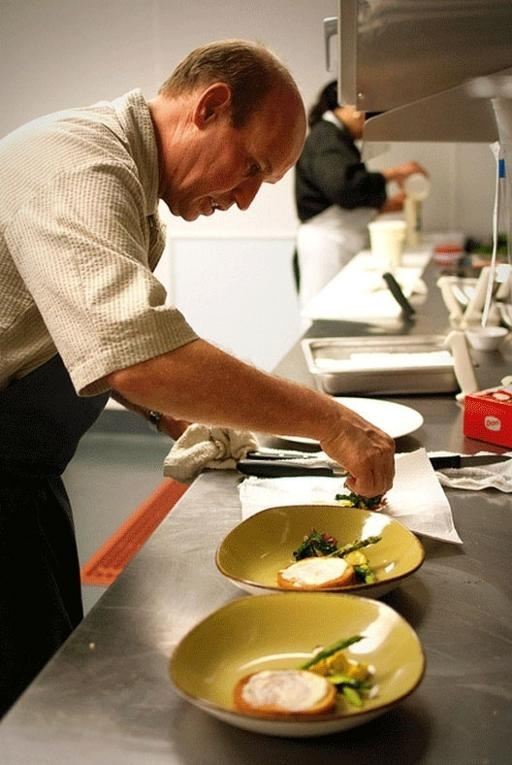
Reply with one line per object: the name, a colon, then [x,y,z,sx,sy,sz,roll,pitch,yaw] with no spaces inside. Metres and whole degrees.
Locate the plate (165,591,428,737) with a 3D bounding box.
plate: [0.036,0.224,0.552,0.193,0.052,0.169,1,14,14]

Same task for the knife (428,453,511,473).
knife: [0.341,0.119,1.098,0.134,0.023,0.061,-1,13,5]

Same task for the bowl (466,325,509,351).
bowl: [0.579,-0.113,1.724,0.090,0.039,0.085,-2,16,1]

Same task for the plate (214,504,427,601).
plate: [0.066,0.190,0.757,0.220,0.056,0.224,-3,13,-6]
